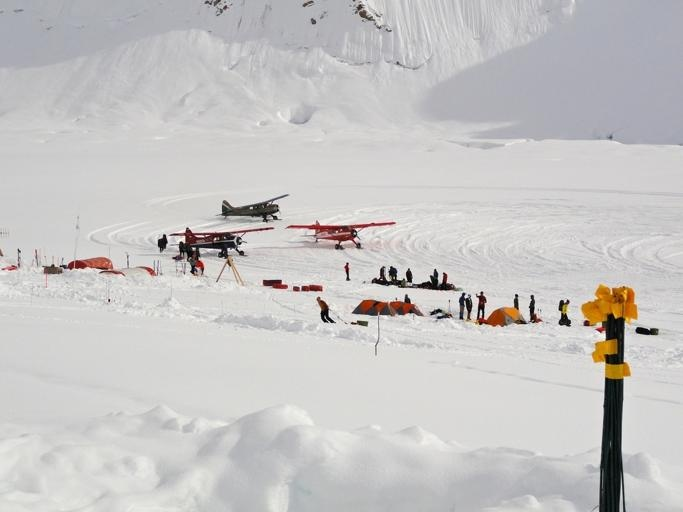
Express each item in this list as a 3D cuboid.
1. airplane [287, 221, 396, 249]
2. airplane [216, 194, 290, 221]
[{"bbox_3d":[0.130,-2.752,131.590,14.810,3.597,7.346,0,2,-3],"label":"airplane"},{"bbox_3d":[-12.615,-6.407,136.790,8.205,3.169,6.549,0,3,-8],"label":"airplane"}]
